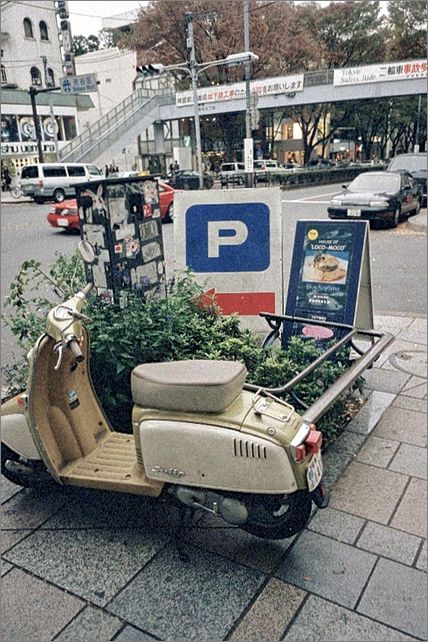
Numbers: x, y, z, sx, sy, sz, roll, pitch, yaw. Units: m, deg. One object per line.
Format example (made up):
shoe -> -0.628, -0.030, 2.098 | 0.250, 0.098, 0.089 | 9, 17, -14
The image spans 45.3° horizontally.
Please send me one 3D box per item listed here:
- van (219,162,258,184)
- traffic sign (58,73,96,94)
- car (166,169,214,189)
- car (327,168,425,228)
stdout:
van -> 1.338, -10.587, 36.744 | 1.604, 1.649, 5.470 | -3, 14, 1
traffic sign -> -7.174, -12.646, 27.151 | 2.130, 0.994, 0.995 | 4, 15, 27
car -> -1.396, -8.437, 30.527 | 1.912, 1.087, 2.850 | 9, 19, 40
car -> 4.638, -3.463, 14.590 | 1.487, 1.596, 3.645 | 7, 17, 35
